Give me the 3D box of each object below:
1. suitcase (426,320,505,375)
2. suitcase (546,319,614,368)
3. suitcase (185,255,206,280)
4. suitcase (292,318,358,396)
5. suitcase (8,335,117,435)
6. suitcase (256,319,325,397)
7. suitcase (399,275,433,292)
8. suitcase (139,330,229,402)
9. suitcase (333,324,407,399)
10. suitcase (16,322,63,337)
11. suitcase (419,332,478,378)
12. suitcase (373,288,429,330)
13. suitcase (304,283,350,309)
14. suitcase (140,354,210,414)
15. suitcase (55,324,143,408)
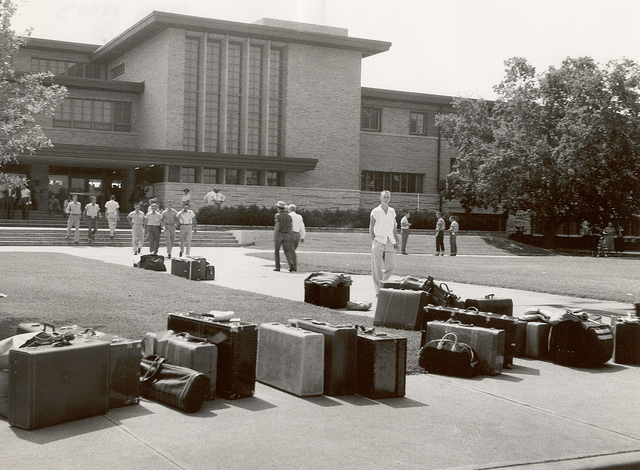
[{"bbox_3d":[2.245,1.549,10.022,1.351,0.870,0.438,6,-5,18],"label":"suitcase"},{"bbox_3d":[4.024,1.665,10.215,0.812,0.668,0.972,10,-6,-24],"label":"suitcase"},{"bbox_3d":[-3.460,0.942,18.396,0.331,0.560,0.567,1,2,-24],"label":"suitcase"},{"bbox_3d":[0.055,1.545,8.104,0.320,0.794,0.879,-1,1,-25],"label":"suitcase"},{"bbox_3d":[-2.715,1.600,6.924,0.938,0.836,0.387,-3,1,-41],"label":"suitcase"},{"bbox_3d":[-0.347,1.564,8.212,0.297,0.660,0.838,-1,6,-32],"label":"suitcase"},{"bbox_3d":[1.717,0.891,11.939,0.430,0.256,0.312,4,2,7],"label":"suitcase"},{"bbox_3d":[-1.566,1.585,7.803,0.299,0.554,0.832,3,0,-45],"label":"suitcase"},{"bbox_3d":[0.563,1.602,8.515,0.555,0.774,1.037,3,1,-38],"label":"suitcase"},{"bbox_3d":[-3.310,1.130,7.836,0.391,0.237,0.361,7,3,42],"label":"suitcase"},{"bbox_3d":[1.827,1.687,9.303,0.814,0.559,0.322,5,-5,38],"label":"suitcase"},{"bbox_3d":[1.416,1.308,11.465,0.679,0.577,0.262,1,-21,36],"label":"suitcase"},{"bbox_3d":[0.197,1.303,14.033,0.621,0.388,0.623,-1,3,-40],"label":"suitcase"},{"bbox_3d":[-1.949,1.709,7.830,1.173,0.509,0.520,11,-7,22],"label":"suitcase"},{"bbox_3d":[-2.501,1.432,7.707,1.338,0.878,0.770,4,3,33],"label":"suitcase"}]
